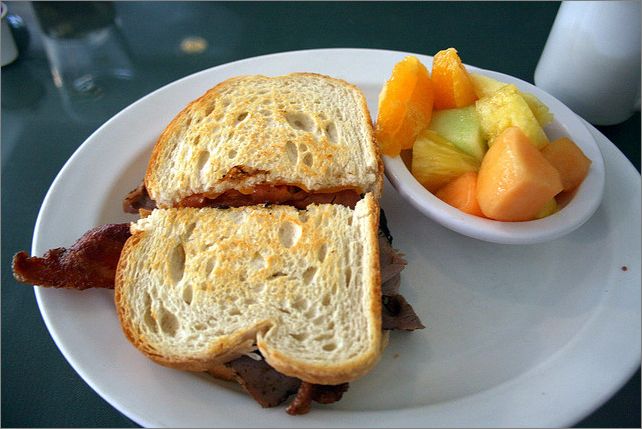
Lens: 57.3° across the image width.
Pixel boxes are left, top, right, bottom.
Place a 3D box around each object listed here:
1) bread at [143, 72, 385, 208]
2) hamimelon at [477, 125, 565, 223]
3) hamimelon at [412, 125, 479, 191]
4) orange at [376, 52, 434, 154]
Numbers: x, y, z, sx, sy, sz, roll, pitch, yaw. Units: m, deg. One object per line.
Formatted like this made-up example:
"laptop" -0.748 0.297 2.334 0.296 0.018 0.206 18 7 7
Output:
"bread" -0.274 -0.347 3.103 0.877 0.203 0.754 -5 48 1
"hamimelon" 0.892 -0.162 2.790 0.365 0.206 0.375 -35 72 -12
"hamimelon" 0.612 -0.261 2.913 0.263 0.117 0.337 2 104 17
"orange" 0.374 -0.587 3.055 0.396 0.439 0.234 -10 29 -25
